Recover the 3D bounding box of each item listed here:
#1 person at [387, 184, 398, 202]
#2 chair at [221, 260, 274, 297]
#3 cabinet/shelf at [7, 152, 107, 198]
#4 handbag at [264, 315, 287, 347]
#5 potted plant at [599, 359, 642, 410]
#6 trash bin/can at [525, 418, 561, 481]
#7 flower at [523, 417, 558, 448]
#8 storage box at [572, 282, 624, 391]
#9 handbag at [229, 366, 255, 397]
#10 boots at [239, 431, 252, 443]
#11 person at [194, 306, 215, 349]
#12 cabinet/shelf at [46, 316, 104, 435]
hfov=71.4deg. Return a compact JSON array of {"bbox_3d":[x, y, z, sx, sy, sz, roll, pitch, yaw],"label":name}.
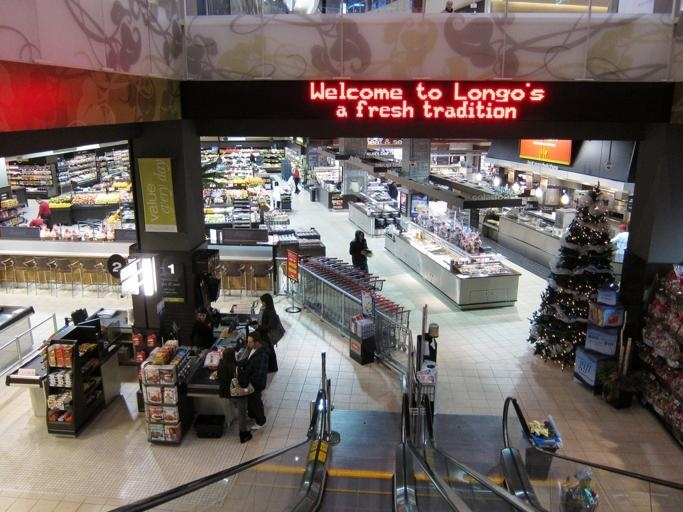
[{"bbox_3d":[2.561,-3.309,23.933,0.443,0.692,1.014,0,14,3],"label":"person"},{"bbox_3d":[-2.583,0.578,13.100,0.957,0.646,0.375,1,29,-1],"label":"chair"},{"bbox_3d":[-15.768,-4.635,26.361,2.584,2.250,7.951,1,14,6],"label":"cabinet/shelf"},{"bbox_3d":[-1.337,1.500,9.398,0.216,0.566,0.597,-14,24,19],"label":"handbag"},{"bbox_3d":[4.884,2.273,8.596,0.718,0.831,0.816,1,13,7],"label":"potted plant"},{"bbox_3d":[2.653,2.572,6.281,0.431,0.558,0.398,-7,31,-12],"label":"trash bin/can"},{"bbox_3d":[2.775,2.438,6.559,0.348,0.131,0.366,-4,14,-10],"label":"flower"},{"bbox_3d":[4.833,1.468,8.780,0.682,1.825,0.560,-4,14,-16],"label":"storage box"},{"bbox_3d":[-1.582,1.991,7.592,0.454,0.455,0.316,-1,3,-12],"label":"handbag"},{"bbox_3d":[-1.540,2.859,7.525,0.094,0.198,0.207,12,26,26],"label":"boots"},{"bbox_3d":[-2.634,1.351,8.917,0.459,0.724,0.318,-11,17,-37],"label":"person"},{"bbox_3d":[-4.319,2.013,7.686,0.440,1.353,1.432,1,19,-3],"label":"cabinet/shelf"}]
